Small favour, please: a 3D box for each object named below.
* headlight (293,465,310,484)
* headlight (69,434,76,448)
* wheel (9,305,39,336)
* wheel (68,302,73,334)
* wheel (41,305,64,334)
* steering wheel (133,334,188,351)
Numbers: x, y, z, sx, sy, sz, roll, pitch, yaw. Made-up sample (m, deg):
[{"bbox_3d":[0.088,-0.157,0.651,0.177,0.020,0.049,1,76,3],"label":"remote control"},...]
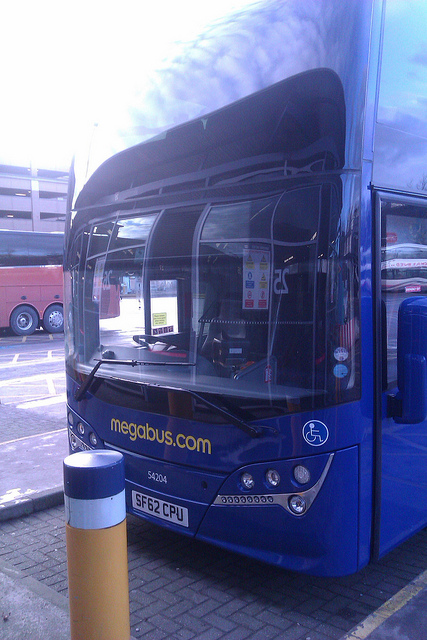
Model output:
[{"bbox_3d":[0.448,0.758,2.412,0.078,0.099,0.035,-14,-4,41],"label":"headlight"},{"bbox_3d":[-1.096,0.936,3.817,0.067,0.106,0.034,8,9,38],"label":"headlight"},{"bbox_3d":[-8.611,-0.053,21.935,0.402,1.432,1.210,7,6,36],"label":"wheel"},{"bbox_3d":[-1.155,-0.018,3.909,0.014,0.242,0.124,-1,1,-33],"label":"wheel"},{"bbox_3d":[-7.459,-0.087,22.437,0.377,1.227,1.120,10,10,32],"label":"wheel"},{"bbox_3d":[-0.345,0.144,3.097,0.518,0.095,0.026,1,2,43],"label":"steering wheel"}]
